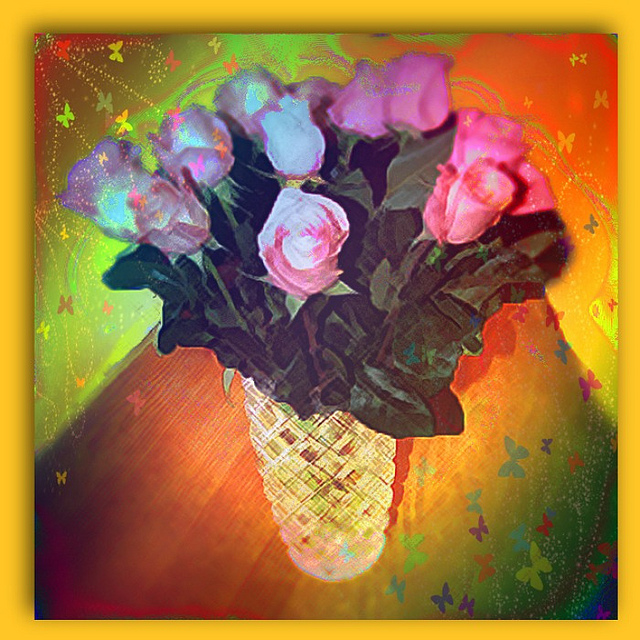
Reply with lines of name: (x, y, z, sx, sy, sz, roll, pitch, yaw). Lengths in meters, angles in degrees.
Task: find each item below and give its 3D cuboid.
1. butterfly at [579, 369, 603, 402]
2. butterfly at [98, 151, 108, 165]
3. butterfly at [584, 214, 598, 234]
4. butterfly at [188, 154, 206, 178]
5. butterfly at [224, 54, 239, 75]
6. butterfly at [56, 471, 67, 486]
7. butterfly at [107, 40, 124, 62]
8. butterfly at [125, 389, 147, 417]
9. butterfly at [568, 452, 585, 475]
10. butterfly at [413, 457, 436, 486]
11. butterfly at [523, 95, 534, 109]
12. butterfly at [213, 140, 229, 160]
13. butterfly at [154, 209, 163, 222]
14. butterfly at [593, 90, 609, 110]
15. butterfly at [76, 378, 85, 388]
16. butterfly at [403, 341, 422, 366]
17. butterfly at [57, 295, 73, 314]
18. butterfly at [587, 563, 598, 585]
butterfly: (0.630, 0.148, 1.775, 0.062, 0.065, 0.020, 0, -3, 3)
butterfly: (-0.502, -0.375, 1.790, 0.031, 0.029, 0.004, 5, 4, 1)
butterfly: (0.627, -0.223, 1.788, 0.031, 0.043, 0.003, -2, 3, -5)
butterfly: (-0.283, -0.358, 1.783, 0.040, 0.040, 0.002, -32, 7, -6)
butterfly: (-0.204, -0.589, 1.782, 0.038, 0.037, 0.005, -5, 2, 6)
butterfly: (-0.597, 0.363, 1.780, 0.034, 0.039, 0.007, 0, -2, -8)
butterfly: (-0.472, -0.621, 1.787, 0.052, 0.061, 0.001, -1, 2, -9)
butterfly: (-0.423, 0.188, 1.787, 0.050, 0.047, 0.018, -40, -1, 6)
butterfly: (0.588, 0.326, 1.781, 0.044, 0.041, 0.013, -2, -8, 9)
butterfly: (0.239, 0.346, 1.779, 0.057, 0.060, 0.017, 1, -4, 3)
butterfly: (0.482, -0.503, 1.785, 0.026, 0.023, 0.007, -14, -2, -4)
butterfly: (-0.228, -0.392, 1.781, 0.033, 0.043, 0.003, -1, 3, 5)
butterfly: (-0.372, -0.241, 1.786, 0.023, 0.028, 0.009, 16, -2, -6)
butterfly: (0.649, -0.512, 1.788, 0.044, 0.050, 0.003, 1, -1, 0)
butterfly: (-0.555, 0.144, 1.790, 0.018, 0.018, 0.006, 3, -3, -4)
butterfly: (0.213, 0.076, 1.780, 0.040, 0.050, 0.003, -2, 3, -4)
butterfly: (-0.592, -0.037, 1.790, 0.045, 0.056, 0.001, 1, -4, -10)
butterfly: (0.627, 0.582, 1.775, 0.018, 0.054, 0.006, -6, 3, -2)
